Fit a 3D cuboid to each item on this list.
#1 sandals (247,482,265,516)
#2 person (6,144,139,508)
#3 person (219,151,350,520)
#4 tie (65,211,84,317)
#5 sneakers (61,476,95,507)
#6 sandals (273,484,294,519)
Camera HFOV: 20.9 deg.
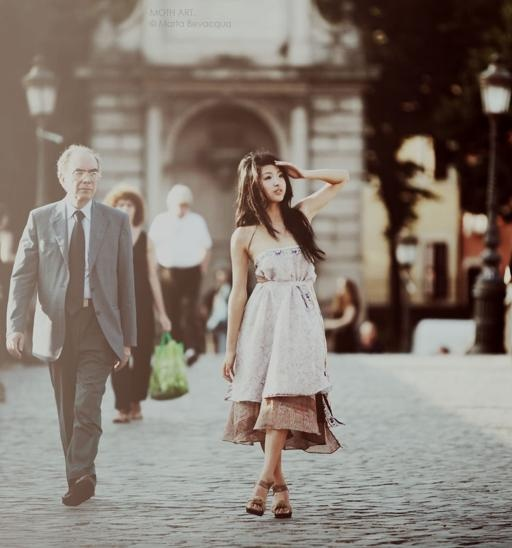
[{"bbox_3d":[0.006,1.325,8.239,0.110,0.198,0.130,2,3,13],"label":"sandals"},{"bbox_3d":[-1.142,0.300,8.633,0.801,2.234,0.620,1,3,-9],"label":"person"},{"bbox_3d":[0.156,0.346,8.473,0.708,2.193,0.663,1,3,-2],"label":"person"},{"bbox_3d":[-1.122,-0.078,8.634,0.111,0.640,0.121,1,3,-8],"label":"tie"},{"bbox_3d":[-1.088,1.325,8.483,0.209,0.212,0.234,0,3,-25],"label":"sneakers"},{"bbox_3d":[0.156,1.350,8.322,0.125,0.196,0.209,1,3,1],"label":"sandals"}]
